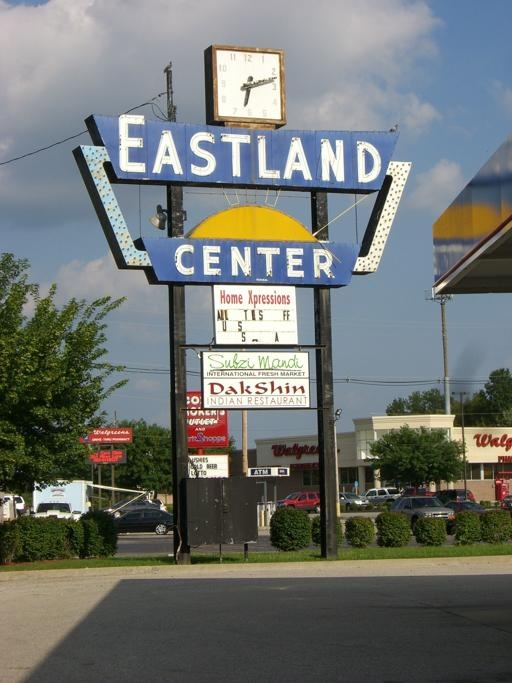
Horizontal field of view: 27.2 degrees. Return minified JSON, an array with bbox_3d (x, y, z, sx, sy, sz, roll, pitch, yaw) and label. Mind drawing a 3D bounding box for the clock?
[{"bbox_3d":[-0.269,-5.855,24.529,1.855,1.819,0.769,2,-12,-23],"label":"clock"}]
